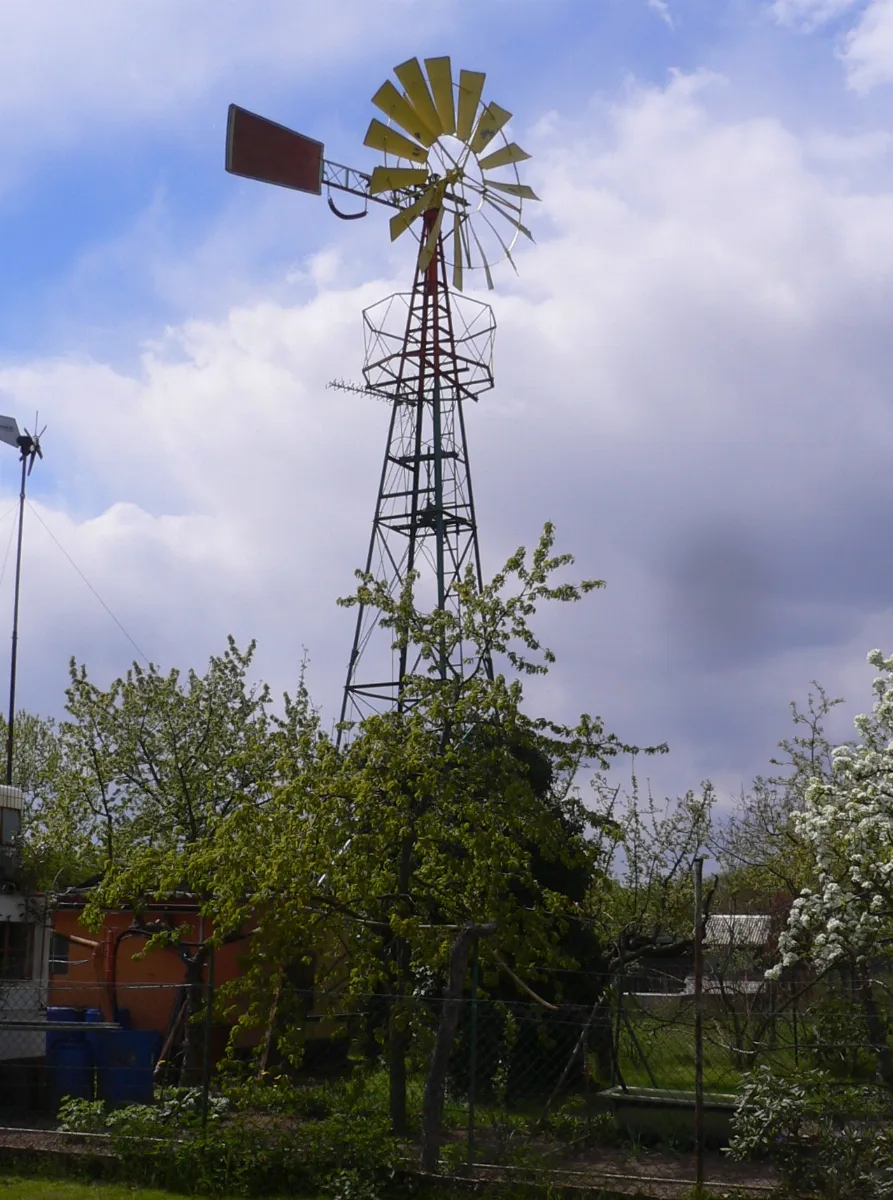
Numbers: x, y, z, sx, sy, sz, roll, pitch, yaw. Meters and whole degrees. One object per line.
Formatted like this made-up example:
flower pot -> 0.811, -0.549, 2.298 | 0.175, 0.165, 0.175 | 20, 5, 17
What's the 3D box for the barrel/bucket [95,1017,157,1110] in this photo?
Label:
barrel/bucket -> -3.461, 4.993, 18.053 | 1.118, 0.885, 0.875 | -12, -20, 40
